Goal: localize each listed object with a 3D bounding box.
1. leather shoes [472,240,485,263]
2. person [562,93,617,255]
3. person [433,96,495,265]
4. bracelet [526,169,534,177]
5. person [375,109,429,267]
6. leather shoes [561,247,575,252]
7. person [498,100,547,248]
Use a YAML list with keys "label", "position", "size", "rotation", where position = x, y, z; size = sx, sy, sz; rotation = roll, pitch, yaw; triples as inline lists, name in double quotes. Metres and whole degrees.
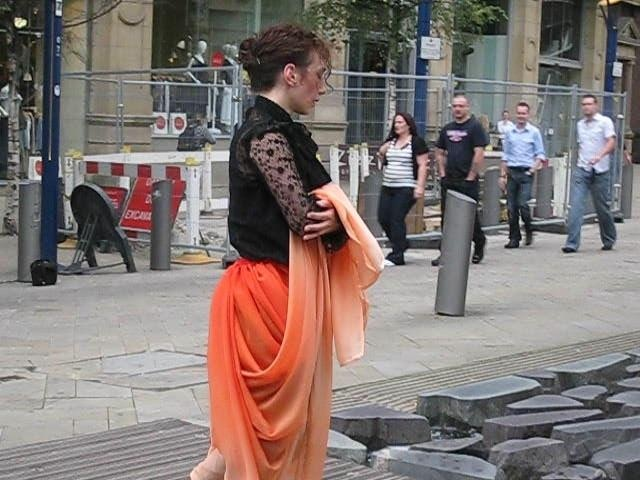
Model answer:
- label: "leather shoes"
  position: [2.153, 0.169, 14.209]
  size: [0.109, 0.136, 0.324]
  rotation: [1, 22, 17]
- label: "person"
  position: [4.015, -0.996, 15.459]
  size: [0.748, 2.321, 0.846]
  rotation: [1, 4, 27]
- label: "person"
  position: [1.861, -1.111, 14.010]
  size: [0.610, 1.667, 0.833]
  rotation: [-4, 4, -37]
- label: "bracelet"
  position: [3.126, -1.019, 15.560]
  size: [0.110, 0.061, 0.046]
  rotation: [0, -11, -11]
- label: "person"
  position: [1.034, -0.682, 13.913]
  size: [0.489, 2.035, 0.830]
  rotation: [-4, 4, -40]
- label: "leather shoes"
  position: [3.653, 0.119, 15.436]
  size: [0.190, 0.063, 0.080]
  rotation: [3, 3, -14]
- label: "person"
  position: [3.063, -0.981, 15.864]
  size: [0.619, 2.187, 0.686]
  rotation: [0, 3, 9]
